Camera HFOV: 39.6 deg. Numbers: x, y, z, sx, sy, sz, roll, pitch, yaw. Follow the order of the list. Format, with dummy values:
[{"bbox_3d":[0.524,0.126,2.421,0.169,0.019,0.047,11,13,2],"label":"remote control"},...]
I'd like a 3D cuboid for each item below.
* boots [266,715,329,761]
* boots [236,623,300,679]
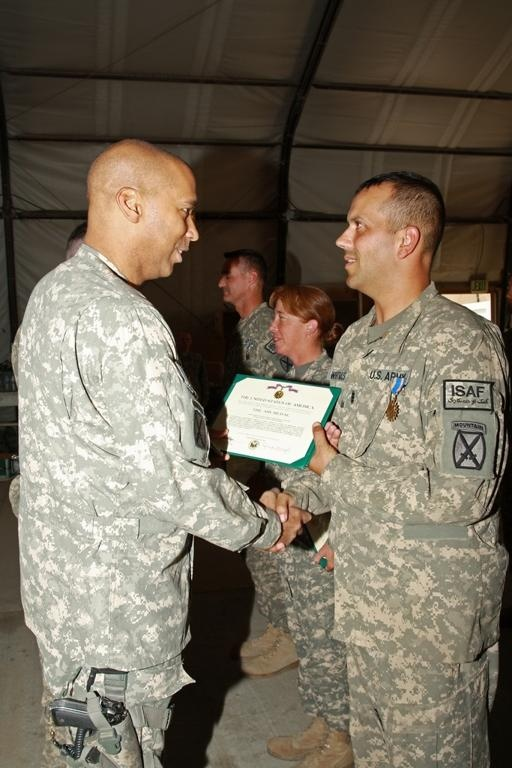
[{"bbox_3d":[0.169,1.377,2.787,0.308,0.164,0.104,1,43,1],"label":"boots"},{"bbox_3d":[0.054,1.299,3.420,0.292,0.105,0.169,-3,22,-21],"label":"boots"}]
